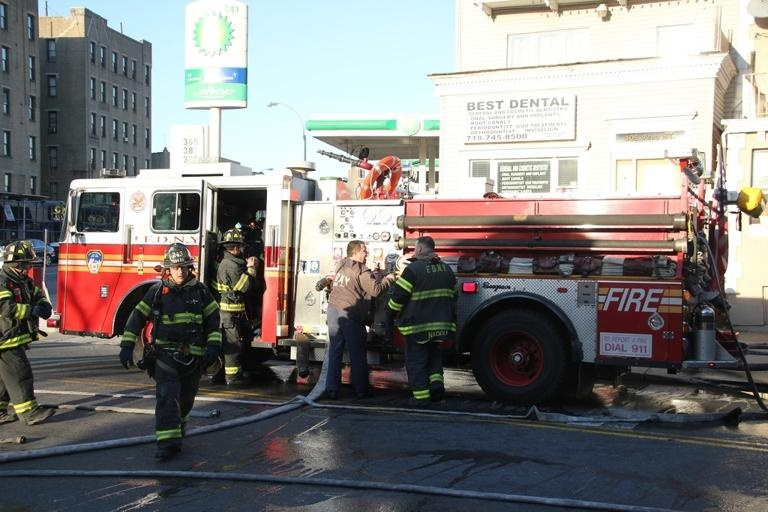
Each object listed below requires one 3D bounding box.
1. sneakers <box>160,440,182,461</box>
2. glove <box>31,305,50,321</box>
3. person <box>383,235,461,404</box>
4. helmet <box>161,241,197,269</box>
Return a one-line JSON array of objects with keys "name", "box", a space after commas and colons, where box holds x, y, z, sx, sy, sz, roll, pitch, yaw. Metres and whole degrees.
[{"name": "sneakers", "box": [-2.668, 2.415, 10.570, 0.322, 0.236, 0.192, -4, 10, -23]}, {"name": "glove", "box": [-4.839, 0.798, 11.976, 0.236, 0.100, 0.287, 5, -6, -23]}, {"name": "person", "box": [0.587, 0.987, 12.680, 1.024, 2.365, 0.603, 0, 9, 1]}, {"name": "helmet", "box": [-2.617, -0.003, 10.946, 0.305, 0.211, 0.343, -2, 2, -6]}]
